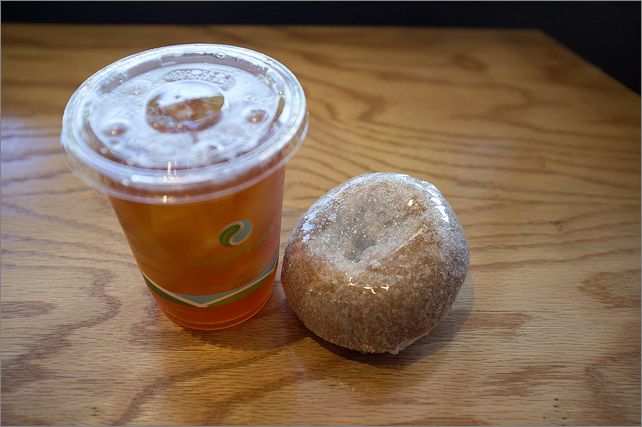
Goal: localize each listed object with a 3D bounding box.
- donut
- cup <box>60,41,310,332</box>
[{"bbox_3d":[0.091,0.074,1.084,0.297,0.125,0.277,-30,62,-24],"label":"donut"},{"bbox_3d":[-0.199,-0.050,1.183,0.441,0.381,0.406,1,45,-1],"label":"cup"}]
